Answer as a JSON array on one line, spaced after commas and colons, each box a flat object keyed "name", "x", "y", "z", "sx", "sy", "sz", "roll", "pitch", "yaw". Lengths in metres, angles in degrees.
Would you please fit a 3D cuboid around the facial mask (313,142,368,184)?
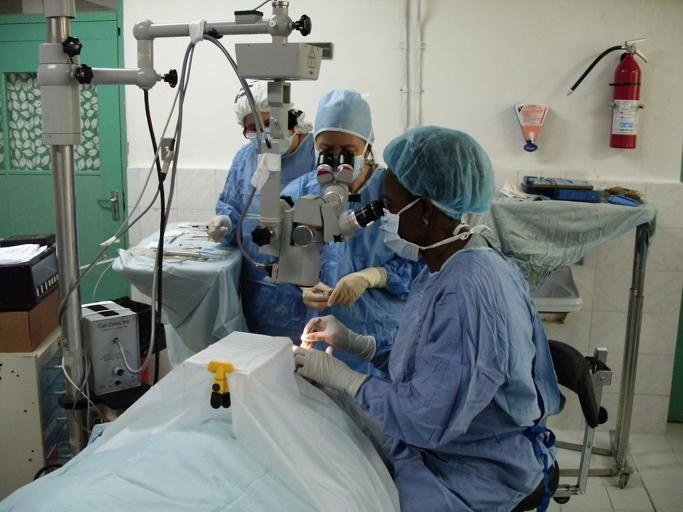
[{"name": "facial mask", "x": -0.005, "y": -0.343, "z": 2.433, "sx": 0.206, "sy": 0.231, "sz": 0.246, "roll": 3, "pitch": 13, "yaw": 7}]

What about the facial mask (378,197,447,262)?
[{"name": "facial mask", "x": 0.241, "y": -0.099, "z": 2.306, "sx": 0.175, "sy": 0.219, "sz": 0.147, "roll": 13, "pitch": 19, "yaw": 40}]

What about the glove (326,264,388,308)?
[{"name": "glove", "x": 0.071, "y": 0.125, "z": 2.738, "sx": 0.106, "sy": 0.122, "sz": 0.306, "roll": -1, "pitch": 4, "yaw": 41}]

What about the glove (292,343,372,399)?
[{"name": "glove", "x": -0.037, "y": 0.396, "z": 2.321, "sx": 0.196, "sy": 0.168, "sz": 0.224, "roll": -1, "pitch": 10, "yaw": -30}]

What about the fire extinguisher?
[{"name": "fire extinguisher", "x": 1.712, "y": -0.952, "z": 3.860, "sx": 0.191, "sy": 0.626, "sz": 0.150, "roll": 6, "pitch": 11, "yaw": 21}]

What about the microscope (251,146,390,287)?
[{"name": "microscope", "x": -0.078, "y": -0.175, "z": 2.230, "sx": 0.310, "sy": 0.564, "sz": 0.367, "roll": 7, "pitch": 13, "yaw": 19}]
